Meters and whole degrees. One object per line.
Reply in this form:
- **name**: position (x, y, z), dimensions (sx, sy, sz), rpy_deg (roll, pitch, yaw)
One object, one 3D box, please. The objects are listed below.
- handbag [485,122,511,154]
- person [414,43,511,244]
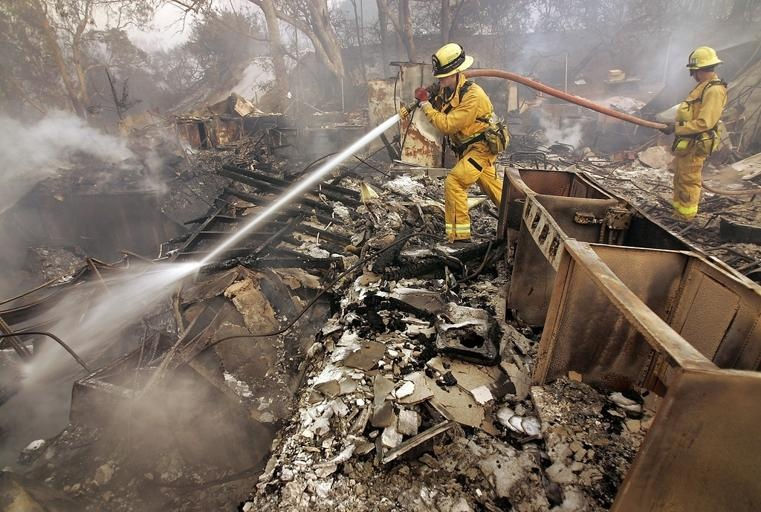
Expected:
- **handbag**: position (1.730, -1.732, 6.659), dimensions (0.373, 0.463, 0.234), rpy_deg (-15, 30, -17)
- **person**: position (1.270, -1.688, 6.749), dimensions (1.074, 2.638, 1.308), rpy_deg (-12, 30, -12)
